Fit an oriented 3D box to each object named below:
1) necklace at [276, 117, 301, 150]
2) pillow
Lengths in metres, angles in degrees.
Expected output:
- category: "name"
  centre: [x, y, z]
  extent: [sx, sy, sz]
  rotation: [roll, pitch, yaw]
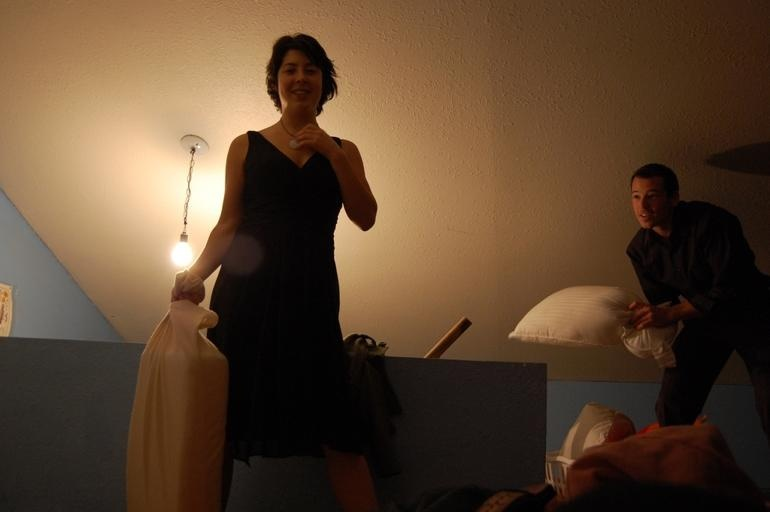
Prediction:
- category: "necklace"
  centre: [-0.337, -0.426, 2.206]
  extent: [0.086, 0.123, 0.040]
  rotation: [-18, -14, -15]
- category: "pillow"
  centre: [1.048, 0.329, 3.175]
  extent: [0.495, 0.199, 0.625]
  rotation: [-29, 18, -37]
